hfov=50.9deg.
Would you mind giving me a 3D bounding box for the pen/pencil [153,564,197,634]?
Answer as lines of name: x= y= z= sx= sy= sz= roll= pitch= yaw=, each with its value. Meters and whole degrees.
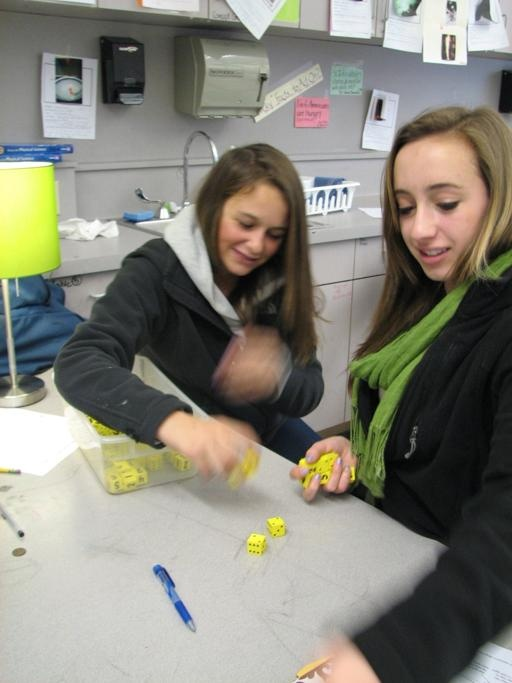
pen/pencil: x=-0.095 y=0.269 z=0.583 sx=0.019 sy=0.020 sz=0.131 roll=3 pitch=11 yaw=-23
